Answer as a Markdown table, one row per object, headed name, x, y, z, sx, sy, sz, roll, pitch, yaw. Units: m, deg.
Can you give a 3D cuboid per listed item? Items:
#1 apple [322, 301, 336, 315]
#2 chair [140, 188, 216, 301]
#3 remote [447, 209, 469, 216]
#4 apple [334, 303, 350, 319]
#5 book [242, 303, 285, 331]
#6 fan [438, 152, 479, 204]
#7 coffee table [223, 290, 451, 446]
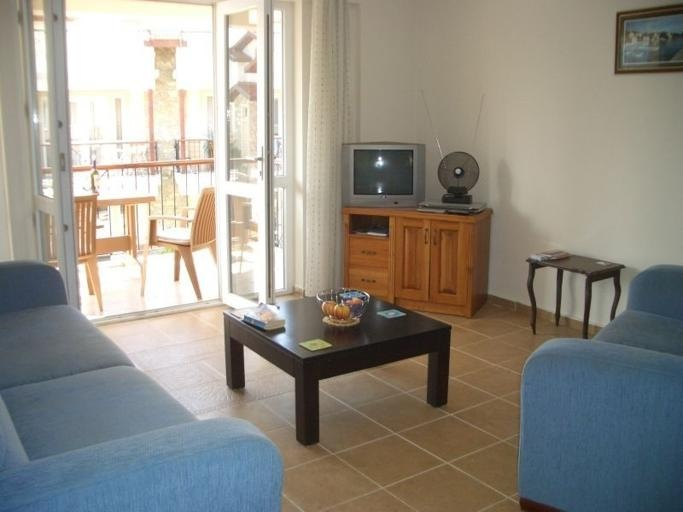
| name | x | y | z | sx | sy | sz | roll | pitch | yaw |
| --- | --- | --- | --- | --- | --- | --- | --- | --- | --- |
| apple | -0.077 | 0.320 | 3.282 | 0.076 | 0.077 | 0.078 | 1 | 9 | 2 |
| chair | -1.642 | -0.169 | 5.582 | 0.823 | 1.091 | 0.788 | 11 | 14 | 37 |
| remote | 1.034 | -0.387 | 4.742 | 0.193 | 0.038 | 0.086 | 5 | 15 | 28 |
| apple | 0.004 | 0.335 | 3.234 | 0.080 | 0.080 | 0.081 | 0 | -1 | -13 |
| book | -0.486 | 0.375 | 3.317 | 0.146 | 0.082 | 0.220 | -9 | 14 | -32 |
| fan | 1.097 | -0.725 | 4.949 | 0.436 | 0.573 | 0.302 | 5 | 15 | 29 |
| coffee table | 0.078 | 0.514 | 3.253 | 0.961 | 0.475 | 0.922 | -5 | 10 | -34 |
